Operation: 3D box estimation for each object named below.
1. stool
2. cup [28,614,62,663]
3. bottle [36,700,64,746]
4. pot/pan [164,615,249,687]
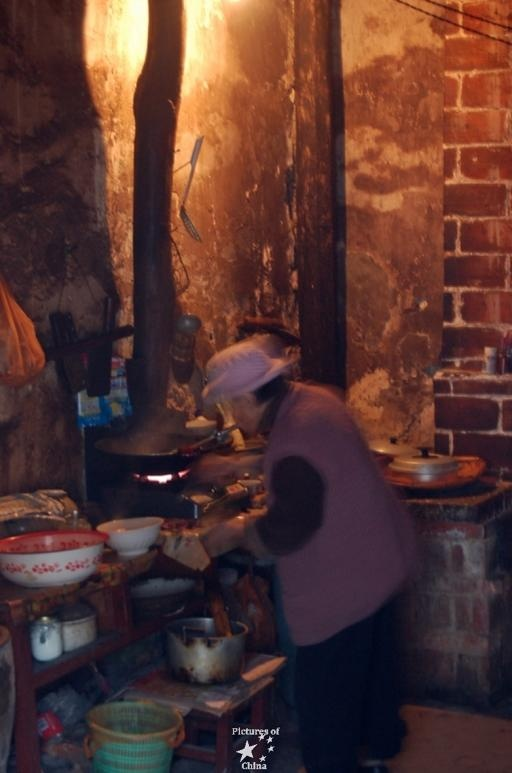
[{"bbox_3d":[-0.176,1.126,2.857,0.366,0.397,0.377,1,6,34],"label":"stool"},{"bbox_3d":[-0.664,0.794,2.568,0.108,0.134,0.113,0,-2,0],"label":"cup"},{"bbox_3d":[-0.664,1.087,2.649,0.087,0.096,0.065,4,31,-6],"label":"bottle"},{"bbox_3d":[-0.163,0.936,2.873,0.204,0.149,0.203,-6,-20,12],"label":"pot/pan"}]
